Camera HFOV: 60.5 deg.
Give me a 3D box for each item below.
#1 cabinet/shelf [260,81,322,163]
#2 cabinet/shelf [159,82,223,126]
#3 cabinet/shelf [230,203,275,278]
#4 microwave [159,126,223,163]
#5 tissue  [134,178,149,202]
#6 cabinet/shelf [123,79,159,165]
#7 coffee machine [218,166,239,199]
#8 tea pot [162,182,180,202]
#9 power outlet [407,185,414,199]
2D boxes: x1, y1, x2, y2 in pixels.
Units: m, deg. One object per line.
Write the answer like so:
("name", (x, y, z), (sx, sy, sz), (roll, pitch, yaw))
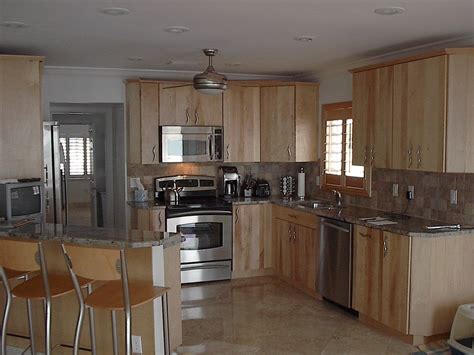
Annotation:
("cabinet/shelf", (0.730, -0.770, 5.599), (0.824, 1.063, 0.224), (0, 9, 1))
("cabinet/shelf", (-0.635, -0.957, 5.196), (0.644, 0.517, 0.197), (-1, 3, -20))
("cabinet/shelf", (0.212, 0.783, 5.463), (0.543, 0.885, 0.175), (-1, 9, -6))
("microwave", (-0.607, -0.467, 5.432), (0.862, 0.485, 0.504), (-1, 2, -23))
("tissue ", (-1.305, 0.155, 5.514), (0.181, 0.287, 0.284), (-3, 9, -14))
("cabinet/shelf", (-1.250, -0.746, 5.360), (0.468, 1.085, 0.252), (1, 9, 6))
("coffee machine", (-0.112, 0.052, 5.738), (0.266, 0.423, 0.270), (-1, 9, -7))
("tea pot", (-0.873, 0.201, 5.408), (0.175, 0.267, 0.278), (-2, -4, 36))
("power outlet", (1.877, 0.155, 4.375), (0.040, 0.154, 0.086), (-7, 11, -38))
